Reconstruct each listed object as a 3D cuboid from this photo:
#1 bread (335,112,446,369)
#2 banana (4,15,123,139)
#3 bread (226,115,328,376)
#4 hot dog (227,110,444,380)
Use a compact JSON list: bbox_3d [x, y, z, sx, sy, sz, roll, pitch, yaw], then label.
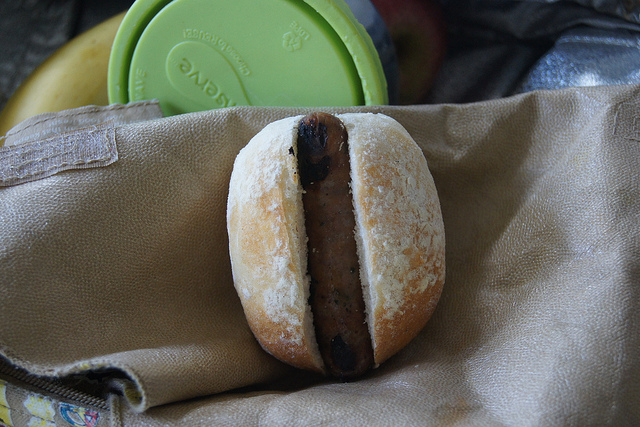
[{"bbox_3d":[0.147,0.064,1.531,0.203,0.141,0.501,-3,87,-15],"label":"bread"},{"bbox_3d":[-0.653,-0.342,1.879,0.380,0.111,0.214,-31,81,-2],"label":"banana"},{"bbox_3d":[-0.095,0.069,1.531,0.204,0.140,0.526,-3,89,-28],"label":"bread"},{"bbox_3d":[0.047,0.057,1.476,0.355,0.236,0.612,-9,93,-11],"label":"hot dog"}]
